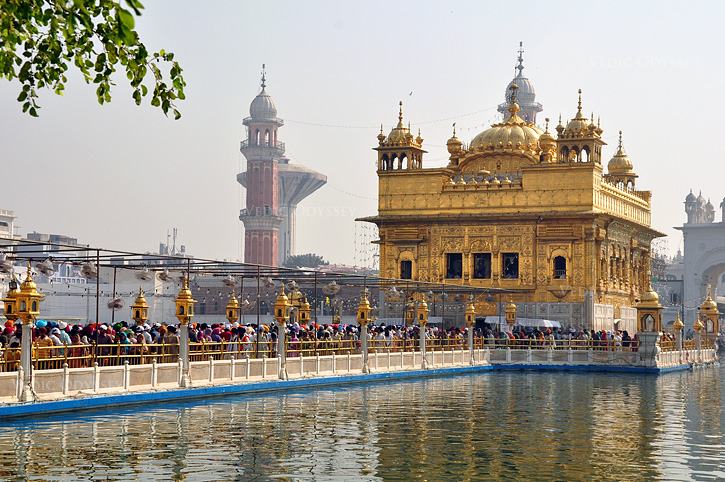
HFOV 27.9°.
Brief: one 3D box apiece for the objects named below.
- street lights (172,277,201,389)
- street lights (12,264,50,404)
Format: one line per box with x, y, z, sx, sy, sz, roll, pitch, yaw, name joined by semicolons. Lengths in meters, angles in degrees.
-4.890;2.566;40.101;0.463;2.998;0.660;0;-8;-6;street lights
-8.212;2.381;35.799;0.561;3.252;0.687;1;-8;-13;street lights
